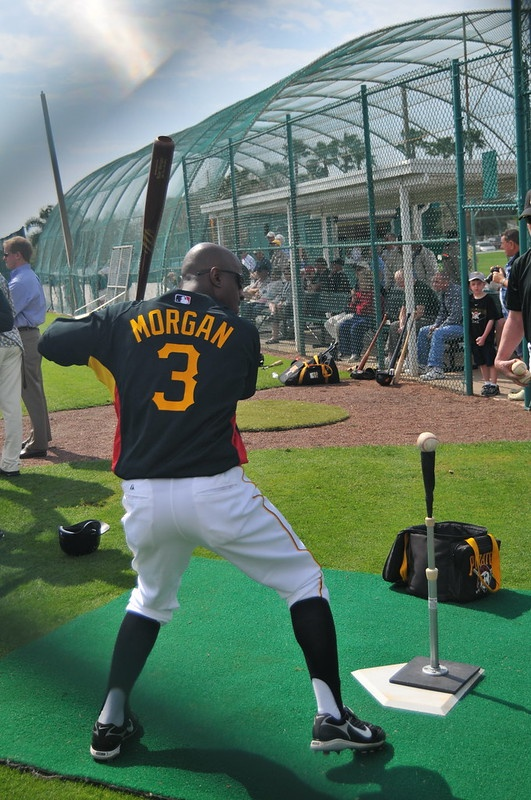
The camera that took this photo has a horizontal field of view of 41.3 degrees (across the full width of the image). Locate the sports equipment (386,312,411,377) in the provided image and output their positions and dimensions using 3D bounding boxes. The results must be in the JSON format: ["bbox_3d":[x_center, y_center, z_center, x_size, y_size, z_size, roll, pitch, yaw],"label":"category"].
[{"bbox_3d":[1.976,-0.845,10.204,0.184,1.172,0.163,-1,41,-17],"label":"sports equipment"}]

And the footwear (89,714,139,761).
[{"bbox_3d":[-0.517,1.158,2.455,0.086,0.107,0.234,0,-3,10],"label":"footwear"}]

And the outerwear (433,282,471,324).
[{"bbox_3d":[2.504,-1.304,9.347,0.350,0.579,0.439,-17,31,-23],"label":"outerwear"}]

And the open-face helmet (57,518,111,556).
[{"bbox_3d":[-1.130,0.846,4.370,0.285,0.181,0.212,4,-3,-18],"label":"open-face helmet"}]

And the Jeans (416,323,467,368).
[{"bbox_3d":[2.463,-0.792,9.865,0.524,0.589,0.824,1,2,8],"label":"Jeans"}]

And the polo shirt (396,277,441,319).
[{"bbox_3d":[2.252,-1.398,9.890,0.489,0.471,0.156,15,7,31],"label":"polo shirt"}]

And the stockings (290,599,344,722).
[{"bbox_3d":[0.163,0.811,2.230,0.148,0.359,0.162,-3,6,1],"label":"stockings"}]

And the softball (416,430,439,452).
[{"bbox_3d":[0.560,0.148,2.436,0.062,0.068,0.094,-2,6,10],"label":"softball"}]

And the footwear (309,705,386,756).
[{"bbox_3d":[0.274,1.069,2.309,0.327,0.158,0.116,9,-13,-30],"label":"footwear"}]

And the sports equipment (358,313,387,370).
[{"bbox_3d":[1.743,-0.959,11.297,0.148,1.072,0.155,23,18,-24],"label":"sports equipment"}]
